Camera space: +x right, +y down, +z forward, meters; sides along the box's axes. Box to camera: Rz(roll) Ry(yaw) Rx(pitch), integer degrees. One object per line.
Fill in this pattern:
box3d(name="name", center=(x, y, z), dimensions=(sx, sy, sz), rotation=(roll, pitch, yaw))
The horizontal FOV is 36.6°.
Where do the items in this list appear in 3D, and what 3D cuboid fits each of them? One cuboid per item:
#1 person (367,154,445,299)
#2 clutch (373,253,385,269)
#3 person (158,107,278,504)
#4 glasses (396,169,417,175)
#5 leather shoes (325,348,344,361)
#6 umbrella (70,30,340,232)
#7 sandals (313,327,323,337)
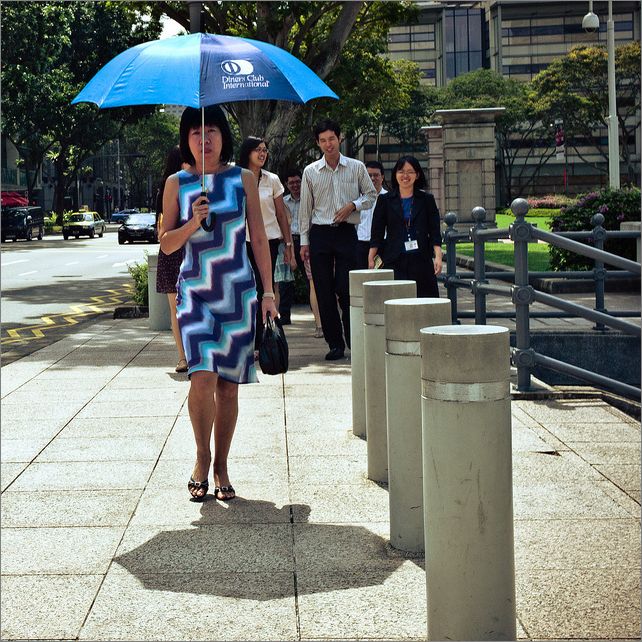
box3d(name="person", center=(0.683, -0.751, 7.877), dimensions=(0.580, 1.129, 0.487), rotation=(-1, 6, 3))
box3d(name="clutch", center=(0.480, -0.488, 8.030), dimensions=(0.020, 0.095, 0.100), rotation=(10, 35, -25))
box3d(name="person", center=(-0.508, -0.087, 4.901), dimensions=(0.578, 1.973, 0.467), rotation=(-2, 5, -11))
box3d(name="glasses", center=(0.688, -1.163, 7.727), dimensions=(0.150, 0.061, 0.120), rotation=(-1, 8, 6))
box3d(name="leather shoes", center=(0.145, 0.291, 8.866), dimensions=(0.230, 0.101, 0.126), rotation=(-7, 9, -33))
box3d(name="umbrella", center=(-0.631, -1.291, 5.536), dimensions=(0.922, 0.824, 1.101), rotation=(0, 17, 12))
box3d(name="sandals", center=(-0.023, 0.117, 10.344), dimensions=(0.102, 0.171, 0.363), rotation=(-1, 0, 2))
